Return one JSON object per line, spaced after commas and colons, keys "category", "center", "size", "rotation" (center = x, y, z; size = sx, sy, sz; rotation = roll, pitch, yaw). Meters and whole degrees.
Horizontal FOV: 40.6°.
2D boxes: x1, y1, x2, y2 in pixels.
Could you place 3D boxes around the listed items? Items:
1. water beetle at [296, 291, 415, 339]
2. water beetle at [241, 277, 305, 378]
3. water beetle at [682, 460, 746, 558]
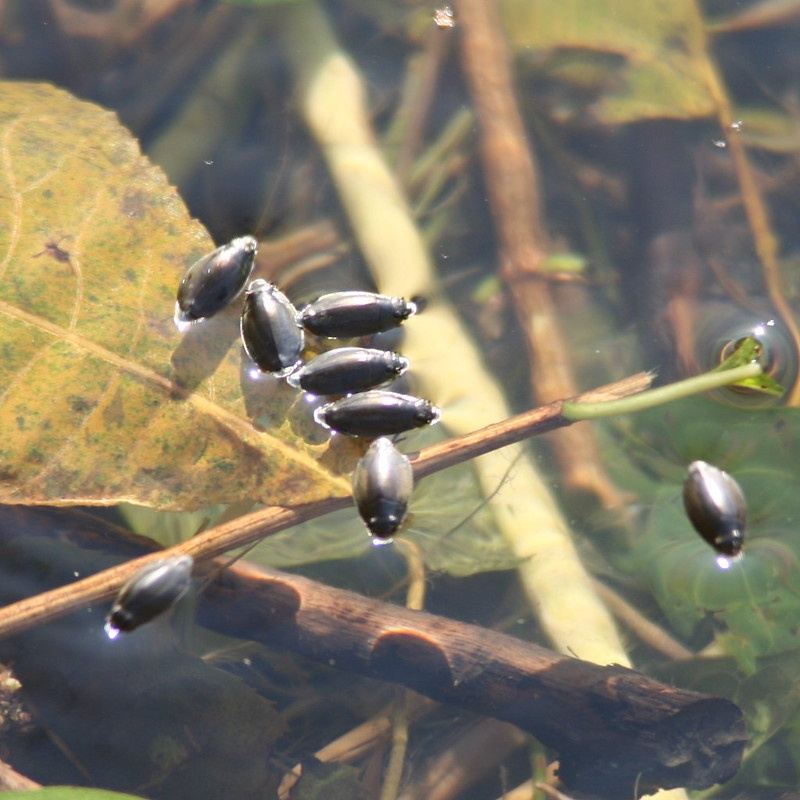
{"category": "water beetle", "center": [-0.170, -0.344, 4.253], "size": [0.460, 0.166, 0.129], "rotation": [-5, 36, -4]}
{"category": "water beetle", "center": [-0.487, -0.265, 4.147], "size": [0.197, 0.366, 0.160], "rotation": [0, 19, 21]}
{"category": "water beetle", "center": [1.169, 0.409, 4.058], "size": [0.288, 0.322, 0.144], "rotation": [-19, -12, 35]}
